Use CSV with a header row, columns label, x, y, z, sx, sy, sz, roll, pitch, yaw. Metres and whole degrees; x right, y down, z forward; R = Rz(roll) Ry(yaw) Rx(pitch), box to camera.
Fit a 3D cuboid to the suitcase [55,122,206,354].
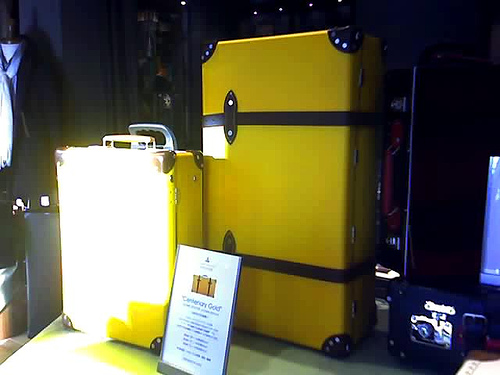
label,x,y,z,sx,sy,sz,roll,pitch,yaw
suitcase,-0.366,0.156,1.240,0.431,0.554,0.196,5,7,6
